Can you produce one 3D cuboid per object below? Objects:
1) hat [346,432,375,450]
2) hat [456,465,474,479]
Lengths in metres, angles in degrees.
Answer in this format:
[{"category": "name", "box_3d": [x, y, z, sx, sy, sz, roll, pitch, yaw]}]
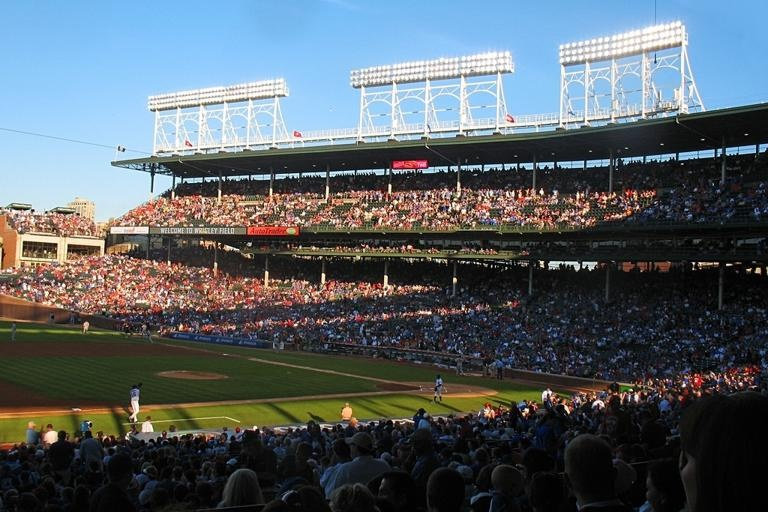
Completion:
[{"category": "hat", "box_3d": [-0.938, 7.634, 41.434, 0.863, 0.429, 0.632, 4, 2, 31]}, {"category": "hat", "box_3d": [3.408, 9.041, 41.835, 0.517, 0.300, 0.749, 2, 4, -8]}]
